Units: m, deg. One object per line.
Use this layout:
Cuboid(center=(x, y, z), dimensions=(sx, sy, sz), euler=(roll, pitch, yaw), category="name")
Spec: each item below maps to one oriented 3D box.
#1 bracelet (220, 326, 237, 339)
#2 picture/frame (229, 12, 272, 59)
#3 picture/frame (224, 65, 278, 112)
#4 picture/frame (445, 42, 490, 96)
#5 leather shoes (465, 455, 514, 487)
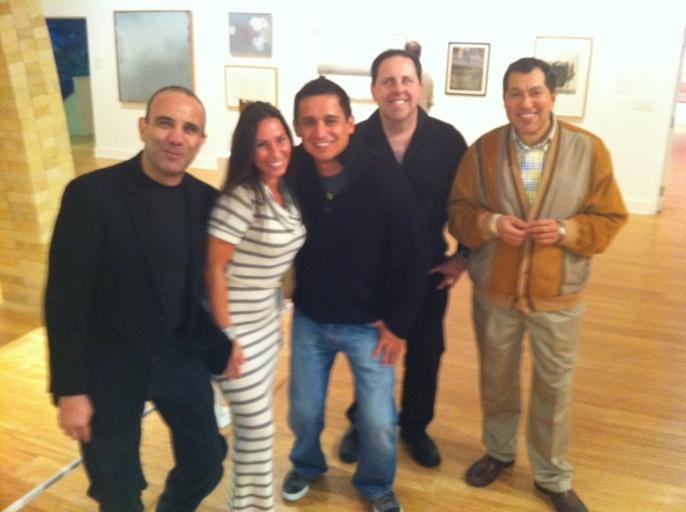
Cuboid(center=(-0.538, 0.364, 2.770), dimensions=(0.059, 0.058, 0.055), euler=(3, 25, 44), category="bracelet")
Cuboid(center=(-1.575, -3.876, 10.025), dimensions=(0.794, 0.661, 0.107), euler=(12, 28, 23), category="picture/frame")
Cuboid(center=(-1.659, -3.061, 10.434), dimensions=(1.038, 0.707, 0.039), euler=(-10, 21, -36), category="picture/frame")
Cuboid(center=(1.968, -2.950, 8.971), dimensions=(0.792, 0.887, 0.035), euler=(7, 23, 17), category="picture/frame")
Cuboid(center=(0.918, 1.329, 3.599), dimensions=(0.281, 0.100, 0.129), euler=(-17, 40, -26), category="leather shoes")
